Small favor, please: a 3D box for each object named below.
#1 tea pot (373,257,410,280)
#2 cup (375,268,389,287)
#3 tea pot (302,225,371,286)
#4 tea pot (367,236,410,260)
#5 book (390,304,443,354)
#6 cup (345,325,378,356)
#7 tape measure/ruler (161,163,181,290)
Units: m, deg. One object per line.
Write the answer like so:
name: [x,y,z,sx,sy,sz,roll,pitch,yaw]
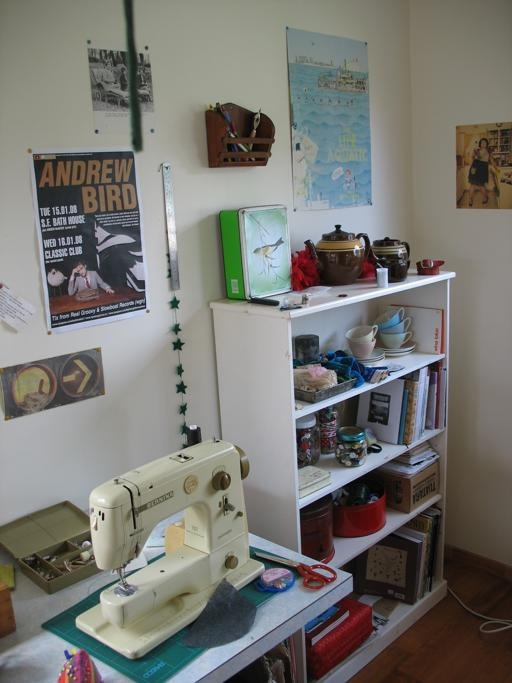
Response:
tea pot: [0.516,-0.287,2.070,0.107,0.077,0.087,2,16,17]
cup: [0.453,-0.232,1.961,0.041,0.067,0.036,1,7,11]
tea pot: [0.298,-0.328,2.011,0.282,0.213,0.254,-12,13,-40]
tea pot: [0.532,-0.368,2.136,0.092,0.078,0.120,3,9,37]
book: [0.687,-0.054,2.312,0.219,0.238,0.035,1,23,47]
cup: [0.409,-0.003,2.132,0.095,0.096,0.141,5,23,27]
tape measure/ruler: [-0.268,-0.352,1.696,0.027,0.394,0.068,1,7,15]
